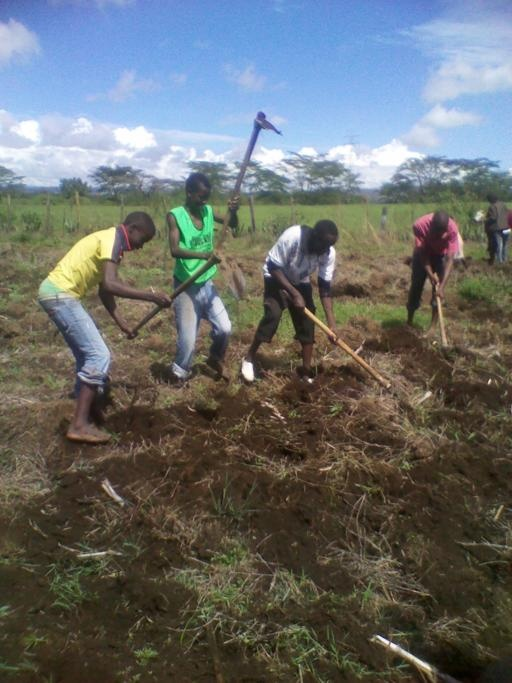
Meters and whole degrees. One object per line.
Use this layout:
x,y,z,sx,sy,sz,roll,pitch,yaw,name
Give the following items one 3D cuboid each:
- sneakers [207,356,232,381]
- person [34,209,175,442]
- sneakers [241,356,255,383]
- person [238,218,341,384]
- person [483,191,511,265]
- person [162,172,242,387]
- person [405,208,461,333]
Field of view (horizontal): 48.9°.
-0.352,0.260,5.285,0.083,0.169,0.248,-32,41,-26,sneakers
-1.133,-0.141,4.035,0.690,1.577,0.753,6,11,13,person
-0.074,0.266,5.092,0.091,0.098,0.239,-7,33,-6,sneakers
0.295,-0.313,4.904,0.802,1.458,0.931,5,10,7,person
4.537,-2.032,10.586,0.418,1.105,0.383,7,11,18,person
-0.474,-0.497,4.820,0.565,1.789,0.796,3,10,-2,person
2.044,-0.812,6.548,0.513,1.347,1.103,6,11,14,person
